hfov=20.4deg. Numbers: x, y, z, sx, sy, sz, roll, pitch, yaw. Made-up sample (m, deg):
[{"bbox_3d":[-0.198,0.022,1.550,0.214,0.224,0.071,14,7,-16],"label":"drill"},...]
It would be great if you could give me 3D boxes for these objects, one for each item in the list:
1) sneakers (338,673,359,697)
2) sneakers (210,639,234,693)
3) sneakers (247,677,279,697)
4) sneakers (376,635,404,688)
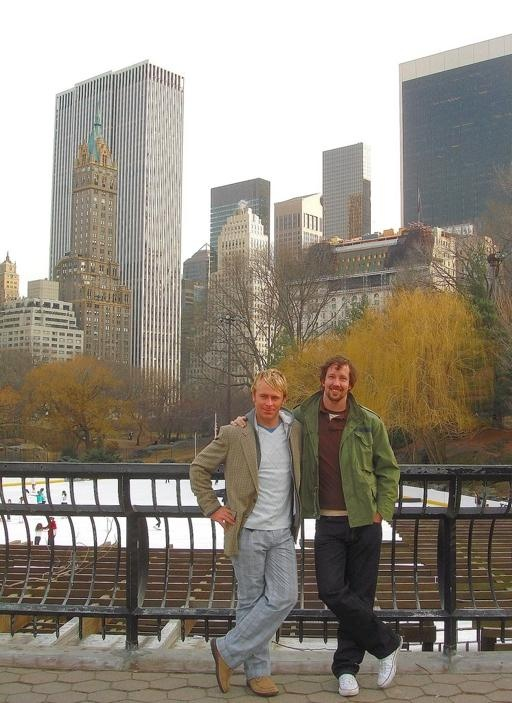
[{"bbox_3d":[0.720,2.602,11.073,0.162,0.118,0.124,-1,-1,3],"label":"sneakers"},{"bbox_3d":[-0.273,2.492,11.137,0.140,0.451,0.132,-5,3,11],"label":"sneakers"},{"bbox_3d":[0.070,2.603,11.026,0.098,0.146,0.276,2,-13,-24],"label":"sneakers"},{"bbox_3d":[1.055,2.504,11.229,0.158,0.491,0.143,18,-19,-19],"label":"sneakers"}]
